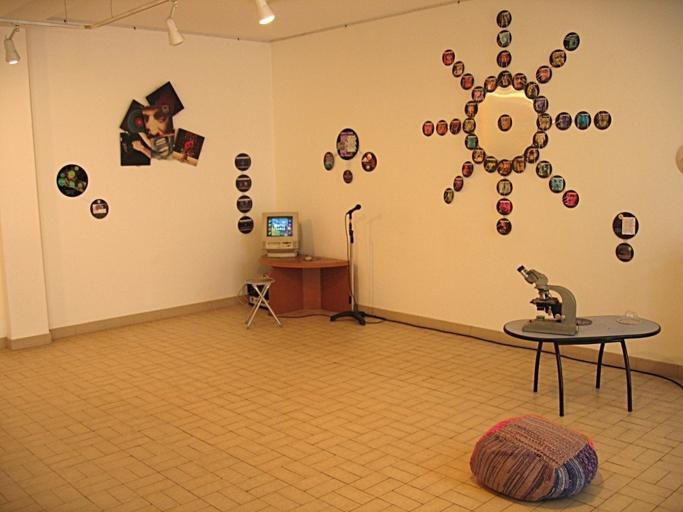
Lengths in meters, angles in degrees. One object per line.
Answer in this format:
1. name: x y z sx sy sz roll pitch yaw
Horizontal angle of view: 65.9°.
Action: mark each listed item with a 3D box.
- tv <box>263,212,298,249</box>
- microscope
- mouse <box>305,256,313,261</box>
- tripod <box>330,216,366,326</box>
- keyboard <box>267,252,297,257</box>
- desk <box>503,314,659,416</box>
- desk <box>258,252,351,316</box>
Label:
1. tv: -0.936 -0.370 7.911 0.571 0.579 0.329 1 2 13
2. microscope: 1.972 0.451 4.932 0.521 0.723 0.480 7 9 34
3. mouse: -0.509 0.038 7.839 0.086 0.053 0.062 0 7 -2
4. tripod: 0.128 0.094 7.654 0.556 1.676 0.734 1 9 16
5. keyboard: -0.923 -0.015 7.936 0.414 0.082 0.068 -1 9 -2
6. desk: 2.374 0.965 5.074 1.150 0.823 1.579 6 11 39
7. desk: -0.519 0.780 7.886 1.673 0.790 0.877 4 6 44
